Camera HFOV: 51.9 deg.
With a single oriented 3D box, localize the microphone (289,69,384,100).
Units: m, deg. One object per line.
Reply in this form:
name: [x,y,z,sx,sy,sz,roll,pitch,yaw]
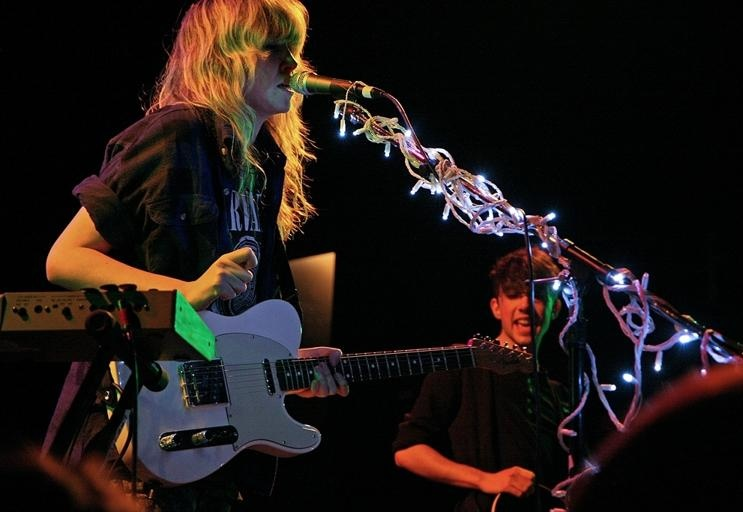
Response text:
microphone: [-0.149,-0.637,2.895,0.461,0.121,0.109,4,33,20]
